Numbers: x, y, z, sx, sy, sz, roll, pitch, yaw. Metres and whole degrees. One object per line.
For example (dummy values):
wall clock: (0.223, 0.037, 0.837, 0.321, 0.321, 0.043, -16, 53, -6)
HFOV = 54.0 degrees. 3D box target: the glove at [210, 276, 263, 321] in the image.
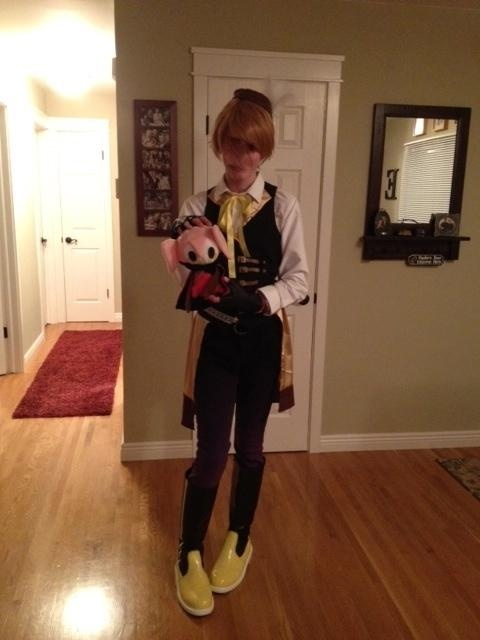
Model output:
glove: (-0.013, -0.051, 1.131, 0.053, 0.034, 0.109, 42, 22, 8)

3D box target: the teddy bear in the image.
teddy bear: (-0.104, -0.133, 1.103, 0.137, 0.211, 0.123, -16, 34, -14)

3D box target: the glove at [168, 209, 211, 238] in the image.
glove: (-0.116, -0.229, 1.160, 0.066, 0.042, 0.092, 4, 9, 19)

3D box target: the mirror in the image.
mirror: (0.825, -0.696, 2.325, 0.630, 0.983, 0.215, 1, 8, -8)

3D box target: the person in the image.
person: (0.003, 0.132, 1.293, 0.367, 1.444, 0.408, 0, 7, -10)

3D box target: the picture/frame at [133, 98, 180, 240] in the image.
picture/frame: (-0.383, -0.674, 2.166, 0.201, 0.668, 0.028, -7, 37, -18)
